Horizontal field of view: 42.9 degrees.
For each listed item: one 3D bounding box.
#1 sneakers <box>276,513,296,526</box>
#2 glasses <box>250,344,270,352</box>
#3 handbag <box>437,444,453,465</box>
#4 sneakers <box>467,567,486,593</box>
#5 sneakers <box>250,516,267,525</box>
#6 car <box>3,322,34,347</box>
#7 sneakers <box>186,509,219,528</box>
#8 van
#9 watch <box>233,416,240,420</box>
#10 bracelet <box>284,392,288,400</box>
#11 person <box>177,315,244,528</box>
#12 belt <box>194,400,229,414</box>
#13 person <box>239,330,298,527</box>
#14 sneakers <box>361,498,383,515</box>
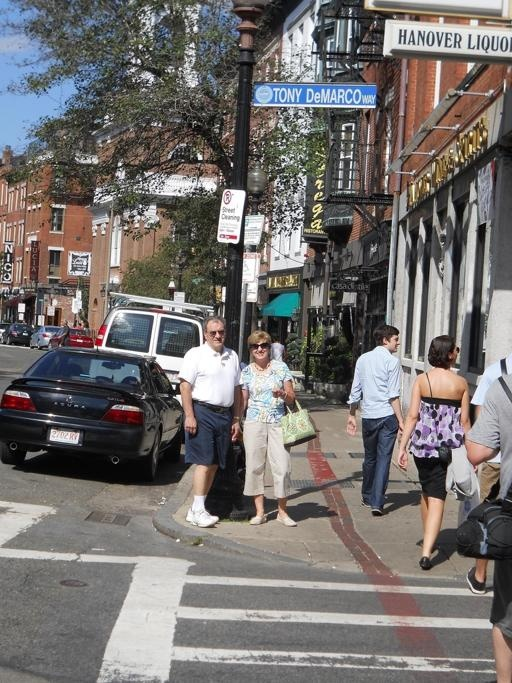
[{"bbox_3d":[0.297,1.778,6.560,0.086,0.079,0.214,1,-1,-32],"label":"sneakers"},{"bbox_3d":[0.026,0.046,6.269,0.197,0.064,0.183,4,2,8],"label":"glasses"},{"bbox_3d":[1.478,0.895,5.131,0.083,0.153,0.126,4,1,-1],"label":"handbag"},{"bbox_3d":[1.496,1.629,4.471,0.071,0.085,0.202,0,22,1],"label":"sneakers"},{"bbox_3d":[0.021,1.757,6.472,0.068,0.070,0.170,-2,-5,44],"label":"sneakers"},{"bbox_3d":[-21.601,-0.653,59.104,1.810,1.435,4.340,0,6,-20],"label":"car"},{"bbox_3d":[-0.528,1.662,6.195,0.334,0.154,0.130,-2,-3,34],"label":"sneakers"},{"bbox_3d":[-1.926,0.056,13.154,1.372,1.303,2.357,2,4,6],"label":"van"},{"bbox_3d":[-0.201,0.738,6.374,0.039,0.038,0.040,-2,2,3],"label":"watch"},{"bbox_3d":[0.280,0.519,6.309,0.042,0.060,0.021,3,9,-25],"label":"bracelet"},{"bbox_3d":[-0.456,0.762,6.275,0.417,1.632,0.676,4,1,30],"label":"person"},{"bbox_3d":[-0.428,0.618,6.170,0.327,0.092,0.084,3,2,-15],"label":"belt"},{"bbox_3d":[0.118,0.857,6.419,0.593,1.643,0.471,4,1,-1],"label":"person"},{"bbox_3d":[1.316,1.869,7.401,0.164,0.223,0.514,3,-4,1],"label":"sneakers"}]
